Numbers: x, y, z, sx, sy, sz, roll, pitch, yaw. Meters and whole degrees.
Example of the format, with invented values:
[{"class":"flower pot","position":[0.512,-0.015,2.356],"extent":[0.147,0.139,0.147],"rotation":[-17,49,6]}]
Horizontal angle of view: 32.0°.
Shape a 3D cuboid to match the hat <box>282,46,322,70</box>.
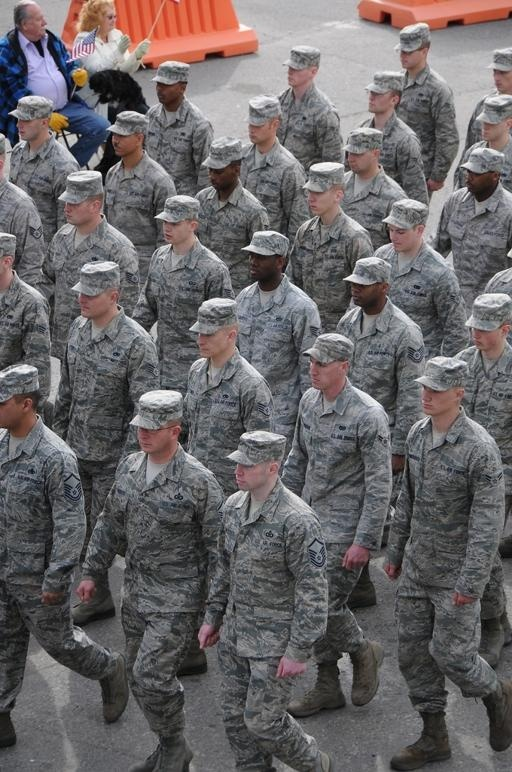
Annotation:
[{"class":"hat","position":[0.575,-3.764,10.303],"extent":[0.479,0.227,0.332],"rotation":[-7,27,-29]}]
